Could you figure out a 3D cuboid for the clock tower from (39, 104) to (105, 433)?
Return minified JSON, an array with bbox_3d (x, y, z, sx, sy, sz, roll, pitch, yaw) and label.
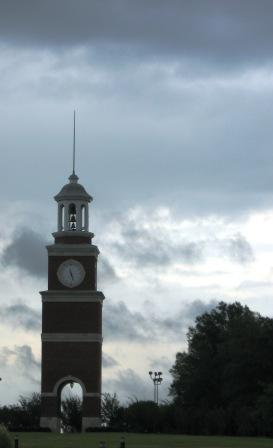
[{"bbox_3d":[-4.603,4.363,87.876,4.020,20.922,5.526,2,-12,-5],"label":"clock tower"}]
